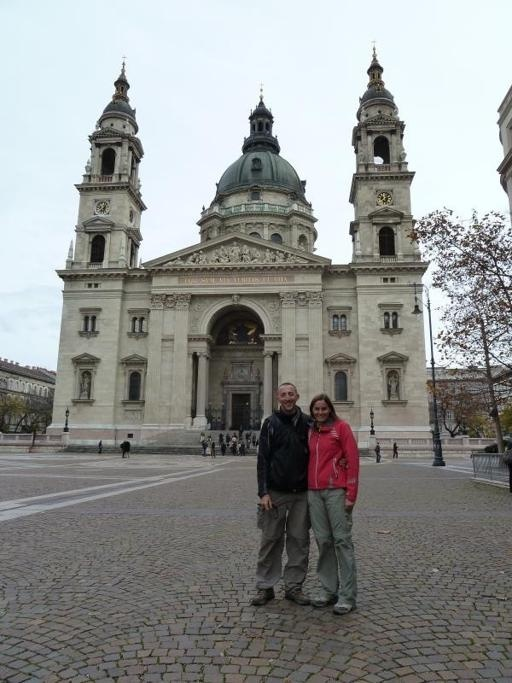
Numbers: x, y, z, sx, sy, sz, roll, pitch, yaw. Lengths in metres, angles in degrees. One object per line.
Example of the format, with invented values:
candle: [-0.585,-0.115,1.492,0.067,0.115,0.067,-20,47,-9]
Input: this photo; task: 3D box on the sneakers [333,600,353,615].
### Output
sneakers: [0.741,2.248,4.470,0.072,0.091,0.216,-18,-36,23]

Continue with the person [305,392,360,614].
person: [0.726,1.418,4.838,0.400,1.872,0.535,5,-12,-19]

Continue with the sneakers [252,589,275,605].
sneakers: [0.063,2.279,4.741,0.115,0.112,0.329,-4,-11,22]

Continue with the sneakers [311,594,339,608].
sneakers: [0.606,2.295,4.693,0.241,0.105,0.085,14,-19,-23]

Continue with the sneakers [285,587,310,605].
sneakers: [0.381,2.304,4.813,0.172,0.111,0.280,3,-11,-13]

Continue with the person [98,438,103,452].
person: [-11.948,8.195,41.215,0.245,0.946,1.995,4,-11,-16]
